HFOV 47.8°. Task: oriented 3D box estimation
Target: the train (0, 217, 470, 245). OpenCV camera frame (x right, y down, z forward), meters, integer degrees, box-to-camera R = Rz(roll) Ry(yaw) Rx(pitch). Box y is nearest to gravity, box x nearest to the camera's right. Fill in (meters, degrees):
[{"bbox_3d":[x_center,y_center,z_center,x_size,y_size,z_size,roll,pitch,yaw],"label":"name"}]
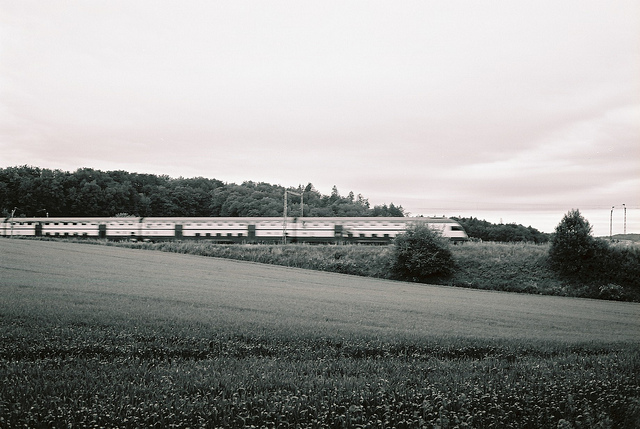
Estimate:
[{"bbox_3d":[-7.067,1.374,56.627,43.709,3.010,2.235,0,0,2],"label":"train"}]
